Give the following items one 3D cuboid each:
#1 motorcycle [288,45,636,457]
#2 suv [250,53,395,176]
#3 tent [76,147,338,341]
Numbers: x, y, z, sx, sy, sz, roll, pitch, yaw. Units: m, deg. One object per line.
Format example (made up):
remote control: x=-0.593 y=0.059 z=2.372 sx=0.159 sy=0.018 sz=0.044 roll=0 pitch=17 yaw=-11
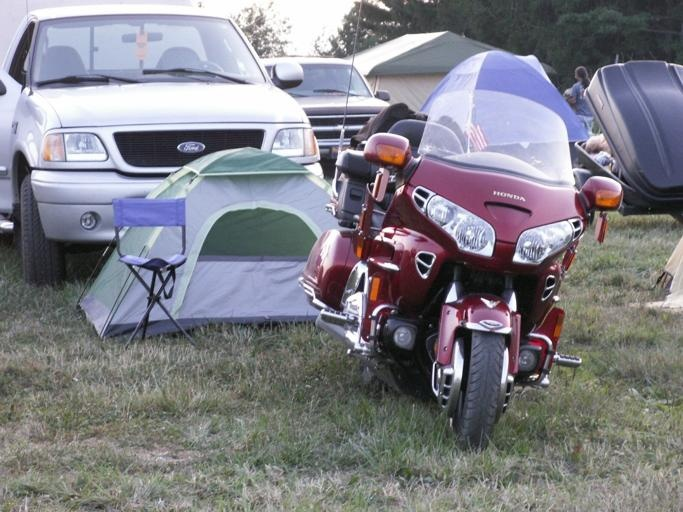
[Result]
motorcycle: x=0.643 y=-0.130 z=5.613 sx=1.135 sy=2.339 sz=1.596 roll=-5 pitch=11 yaw=-39
suv: x=-0.078 y=-2.442 z=14.159 sx=1.497 sy=1.408 sz=2.726 roll=0 pitch=5 yaw=-7
tent: x=-0.986 y=-0.046 z=7.236 sx=1.847 sy=1.029 sz=1.507 roll=-3 pitch=7 yaw=-30
